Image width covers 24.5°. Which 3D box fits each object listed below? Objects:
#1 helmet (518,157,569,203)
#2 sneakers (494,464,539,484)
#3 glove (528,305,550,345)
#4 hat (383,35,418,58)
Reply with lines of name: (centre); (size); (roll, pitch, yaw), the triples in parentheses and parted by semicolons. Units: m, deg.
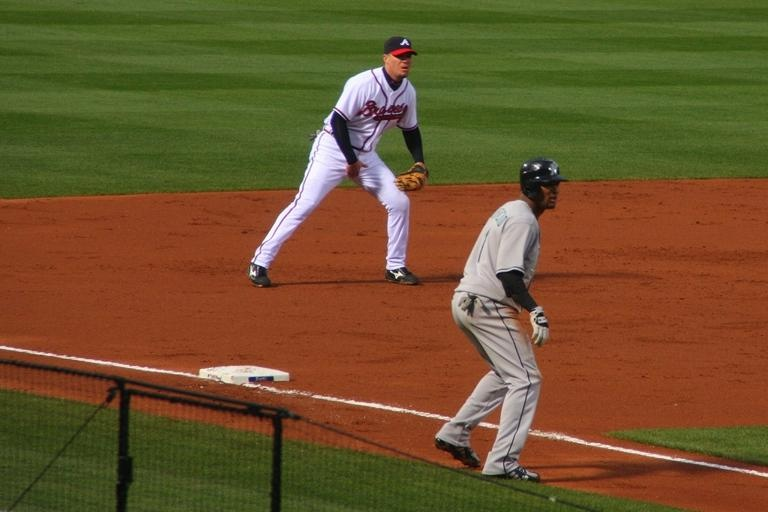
helmet: (2.018, -0.992, 21.958); (0.607, 0.413, 0.607); (-7, 5, -26)
sneakers: (1.686, 2.692, 21.677); (0.681, 0.207, 0.195); (-2, 10, 3)
glove: (1.894, 0.863, 21.603); (0.354, 0.416, 0.213); (0, -2, 1)
hat: (0.201, -3.093, 25.760); (0.422, 0.208, 0.508); (0, 3, -29)
